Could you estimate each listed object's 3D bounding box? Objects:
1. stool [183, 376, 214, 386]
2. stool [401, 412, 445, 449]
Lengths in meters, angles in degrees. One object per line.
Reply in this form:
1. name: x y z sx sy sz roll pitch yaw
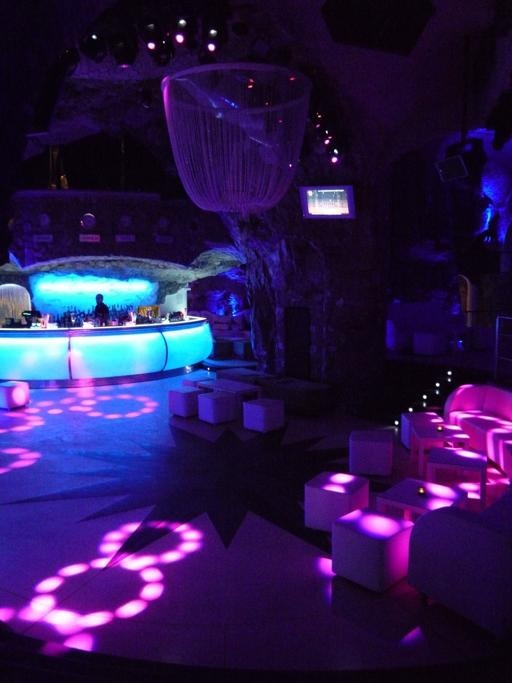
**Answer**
1. stool: -0.800 0.583 7.677 0.203 0.135 0.207 3 6 41
2. stool: 1.665 0.889 5.435 0.360 0.346 0.380 1 6 9
